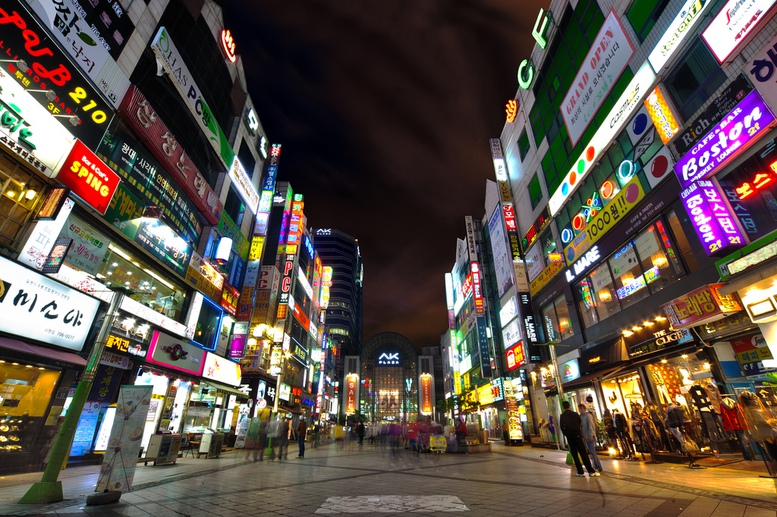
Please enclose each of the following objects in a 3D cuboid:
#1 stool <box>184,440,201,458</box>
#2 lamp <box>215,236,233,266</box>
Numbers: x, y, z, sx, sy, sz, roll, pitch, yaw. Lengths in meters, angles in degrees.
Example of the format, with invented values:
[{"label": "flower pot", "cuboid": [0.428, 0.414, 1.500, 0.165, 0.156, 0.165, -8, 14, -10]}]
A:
[{"label": "stool", "cuboid": [-10.688, 10.324, 20.570, 0.559, 0.881, 2.340, 14, -32, -26]}, {"label": "lamp", "cuboid": [-11.768, -0.759, 26.904, 0.901, 2.070, 1.156, 14, -31, -26]}]
